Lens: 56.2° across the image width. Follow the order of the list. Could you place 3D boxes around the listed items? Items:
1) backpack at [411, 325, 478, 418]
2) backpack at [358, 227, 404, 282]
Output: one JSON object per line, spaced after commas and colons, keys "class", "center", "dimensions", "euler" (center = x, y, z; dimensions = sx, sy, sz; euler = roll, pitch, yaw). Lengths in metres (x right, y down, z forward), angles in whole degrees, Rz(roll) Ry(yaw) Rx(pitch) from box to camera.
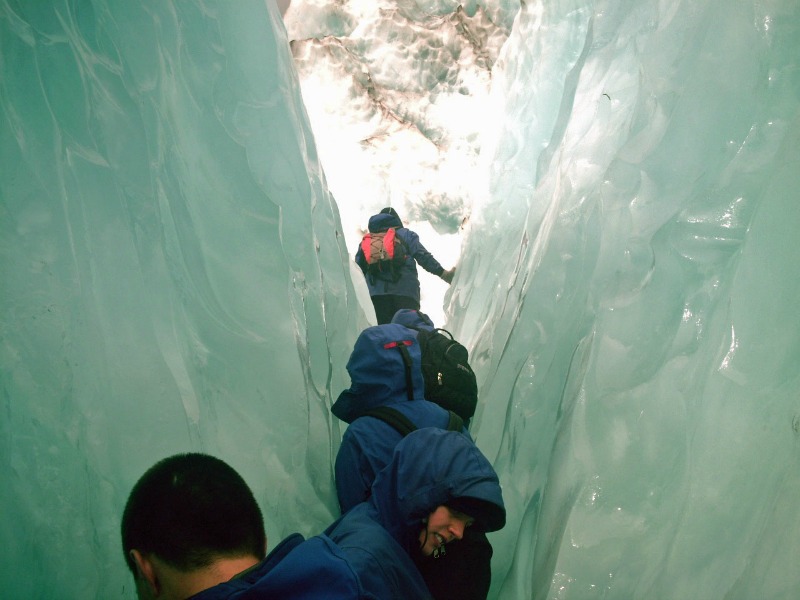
{"class": "backpack", "center": [0.132, 0.230, 2.295], "dimensions": [0.154, 0.321, 0.233], "euler": [-19, -25, 30]}
{"class": "backpack", "center": [-0.081, -0.206, 3.502], "dimensions": [0.113, 0.203, 0.153], "euler": [5, -43, -39]}
